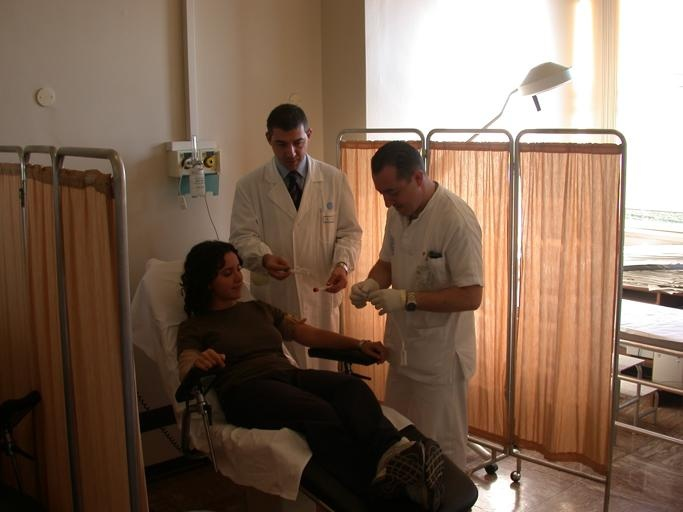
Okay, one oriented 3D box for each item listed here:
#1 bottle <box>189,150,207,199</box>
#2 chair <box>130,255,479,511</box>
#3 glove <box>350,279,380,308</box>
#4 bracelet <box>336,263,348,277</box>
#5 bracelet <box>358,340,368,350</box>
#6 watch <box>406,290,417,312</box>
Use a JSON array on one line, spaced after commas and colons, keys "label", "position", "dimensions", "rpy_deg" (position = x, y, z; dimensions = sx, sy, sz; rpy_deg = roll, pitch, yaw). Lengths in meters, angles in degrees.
[{"label": "bottle", "position": [-0.862, -0.498, 3.519], "dimensions": [0.056, 0.269, 0.121], "rpy_deg": [5, 11, 45]}, {"label": "chair", "position": [-0.274, 0.422, 3.091], "dimensions": [1.935, 1.413, 0.784], "rpy_deg": [11, 22, 43]}, {"label": "glove", "position": [0.122, 0.192, 2.927], "dimensions": [0.151, 0.103, 0.110], "rpy_deg": [-15, -27, -31]}, {"label": "bracelet", "position": [0.004, 0.079, 3.241], "dimensions": [0.027, 0.059, 0.052], "rpy_deg": [-40, -12, -2]}, {"label": "bracelet", "position": [0.111, 0.449, 2.936], "dimensions": [0.043, 0.031, 0.045], "rpy_deg": [-9, -19, -21]}, {"label": "watch", "position": [0.322, 0.214, 2.692], "dimensions": [0.047, 0.082, 0.077], "rpy_deg": [-2, 22, 2]}]
